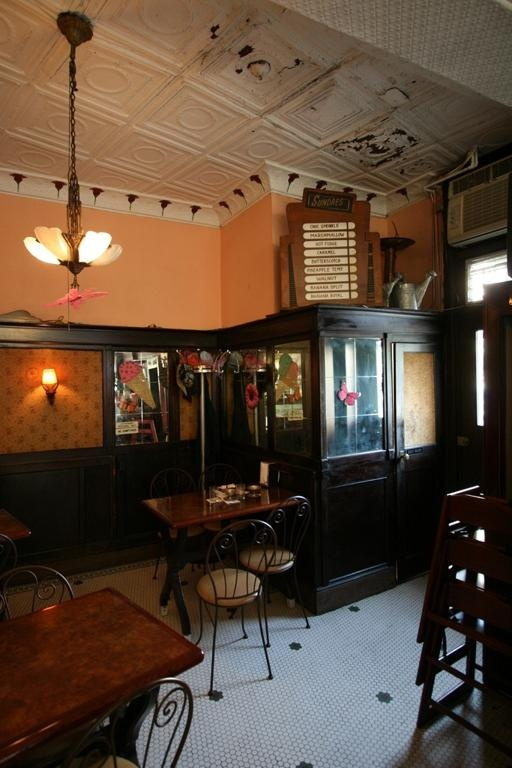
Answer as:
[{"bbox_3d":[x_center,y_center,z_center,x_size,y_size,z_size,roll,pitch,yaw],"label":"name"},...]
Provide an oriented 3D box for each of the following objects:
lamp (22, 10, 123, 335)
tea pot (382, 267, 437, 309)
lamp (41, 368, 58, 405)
[{"bbox_3d":[-1.085,-1.086,3.135,0.483,1.329,1.424,-2,4,-22],"label":"lamp"},{"bbox_3d":[1.100,-0.664,3.920,0.239,0.282,0.302,-3,4,-24],"label":"tea pot"},{"bbox_3d":[-1.563,0.019,4.103,0.126,0.276,0.075,-3,4,-29],"label":"lamp"}]
